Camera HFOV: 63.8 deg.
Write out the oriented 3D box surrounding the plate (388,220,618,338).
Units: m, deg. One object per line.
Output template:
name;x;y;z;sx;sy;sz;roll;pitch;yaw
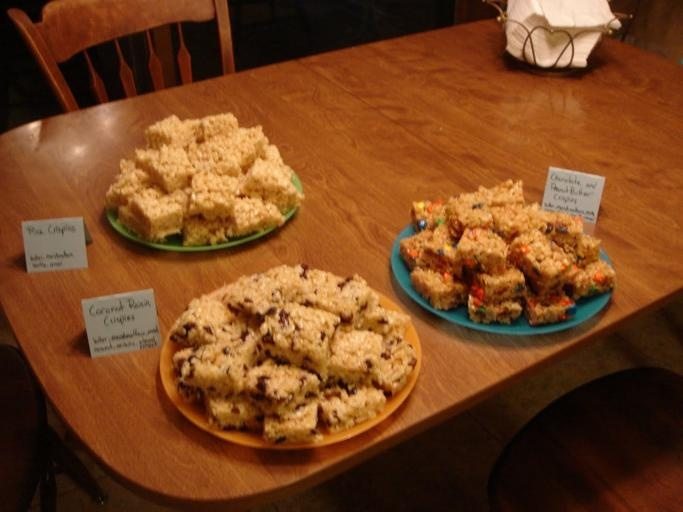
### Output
plate;0.318;0.072;1.143;0.472;0.067;0.218;22;51;15
